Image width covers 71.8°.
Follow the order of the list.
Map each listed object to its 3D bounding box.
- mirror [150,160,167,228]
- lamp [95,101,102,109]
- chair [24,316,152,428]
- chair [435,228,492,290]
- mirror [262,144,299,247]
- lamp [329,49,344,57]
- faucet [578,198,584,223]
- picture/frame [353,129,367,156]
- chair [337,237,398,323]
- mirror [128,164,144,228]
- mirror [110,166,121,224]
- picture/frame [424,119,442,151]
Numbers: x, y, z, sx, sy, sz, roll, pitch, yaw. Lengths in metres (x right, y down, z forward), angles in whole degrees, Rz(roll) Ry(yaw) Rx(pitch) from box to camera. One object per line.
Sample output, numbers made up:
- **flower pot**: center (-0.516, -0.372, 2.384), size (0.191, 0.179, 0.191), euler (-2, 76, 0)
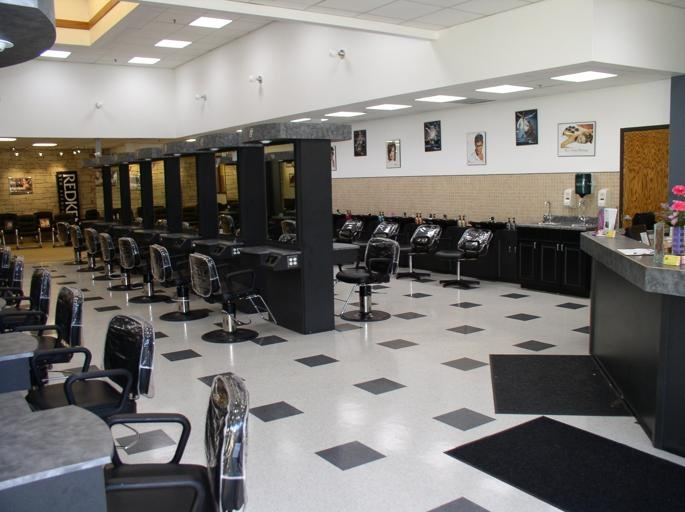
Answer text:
- **mirror**: center (-3.900, -1.307, 10.055), size (0.212, 1.410, 0.969), euler (-6, 10, -26)
- **lamp**: center (-7.128, -4.399, 13.795), size (0.208, 0.191, 0.047), euler (8, 15, -17)
- **chair**: center (-1.730, 0.800, 3.397), size (0.809, 0.936, 0.905), euler (3, 3, -38)
- **chair**: center (2.484, 0.047, 9.256), size (1.291, 1.338, 1.128), euler (-5, 7, -36)
- **mirror**: center (-0.879, -0.860, 6.646), size (0.203, 1.369, 0.836), euler (-6, 10, -26)
- **lamp**: center (-0.078, -3.993, 9.344), size (0.222, 0.062, 0.219), euler (-7, 14, -45)
- **faucet**: center (4.429, -0.840, 8.749), size (0.113, 0.477, 0.214), euler (2, 10, 21)
- **picture/frame**: center (0.481, -3.147, 13.221), size (0.157, 0.732, 0.586), euler (-7, 10, -28)
- **chair**: center (0.334, 0.353, 7.264), size (0.787, 1.180, 0.785), euler (-7, 11, -33)
- **mirror**: center (-4.887, -1.446, 11.179), size (0.116, 1.400, 1.120), euler (-7, 11, -30)
- **mirror**: center (-5.963, -1.608, 12.425), size (0.154, 1.439, 0.995), euler (-7, 11, -30)
- **picture/frame**: center (2.149, -2.821, 11.186), size (0.070, 0.711, 0.515), euler (-8, 11, -33)
